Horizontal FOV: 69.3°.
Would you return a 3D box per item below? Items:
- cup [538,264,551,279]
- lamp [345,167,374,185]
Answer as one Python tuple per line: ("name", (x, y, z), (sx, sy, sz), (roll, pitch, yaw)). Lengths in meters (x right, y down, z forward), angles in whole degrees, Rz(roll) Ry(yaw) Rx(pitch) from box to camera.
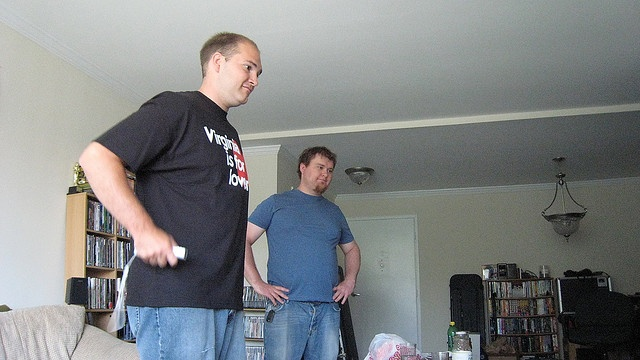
("cup", (3.987, 1.643, 8.243), (0.241, 0.220, 0.226), (-1, -8, 0))
("lamp", (0.577, -0.065, 7.361), (0.361, 0.141, 0.348), (7, -8, -30))
